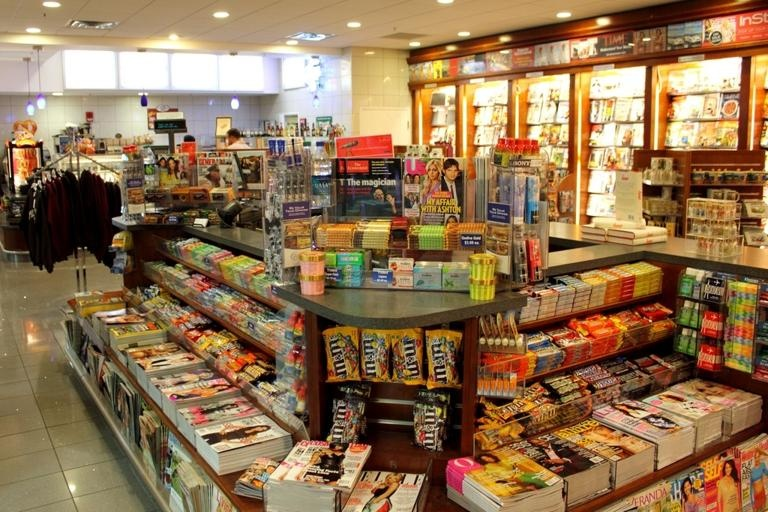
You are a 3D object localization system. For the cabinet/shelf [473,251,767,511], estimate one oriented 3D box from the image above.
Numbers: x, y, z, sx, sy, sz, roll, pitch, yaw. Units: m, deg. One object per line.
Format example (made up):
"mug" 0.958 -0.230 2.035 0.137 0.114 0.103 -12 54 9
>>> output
"cabinet/shelf" 1.548 0.849 3.385 1.821 0.981 0.576 -6 10 -26

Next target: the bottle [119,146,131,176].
"bottle" -2.802 -1.040 5.689 0.167 0.299 0.328 -8 16 -24

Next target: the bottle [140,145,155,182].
"bottle" -2.639 -1.025 5.867 0.157 0.357 0.545 -8 16 -23

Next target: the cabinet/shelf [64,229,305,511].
"cabinet/shelf" -1.563 0.914 4.102 0.707 0.706 2.121 -6 21 -39

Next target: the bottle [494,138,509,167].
"bottle" 0.726 -0.641 3.229 0.088 0.162 0.167 1 15 10

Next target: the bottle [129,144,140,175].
"bottle" -2.694 -1.041 5.653 0.129 0.272 0.231 -8 16 -21

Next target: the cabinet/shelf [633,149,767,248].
"cabinet/shelf" 3.482 -0.643 5.645 1.269 0.968 0.628 3 11 21

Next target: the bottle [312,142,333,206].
"bottle" -0.417 -0.528 3.461 0.146 0.388 0.222 -4 15 -6
